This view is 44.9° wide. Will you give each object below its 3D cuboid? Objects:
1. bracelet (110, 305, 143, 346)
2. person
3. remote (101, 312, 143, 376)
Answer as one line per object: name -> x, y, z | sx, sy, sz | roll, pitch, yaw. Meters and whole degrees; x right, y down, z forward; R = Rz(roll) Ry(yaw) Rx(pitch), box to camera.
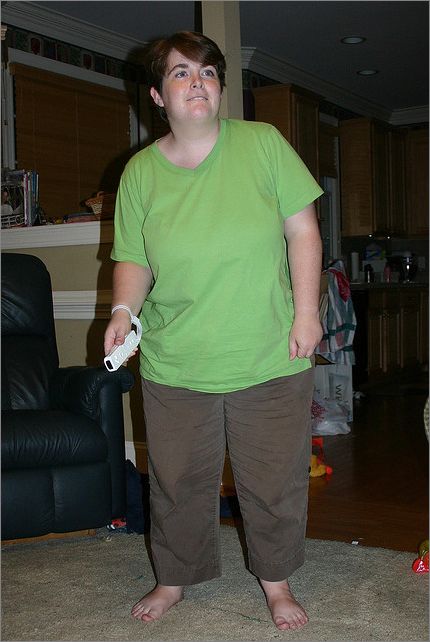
bracelet -> -0.173, 0.018, 1.065 | 0.062, 0.082, 0.023 | 3, 30, 8
person -> -0.009, 0.025, 1.060 | 0.425, 1.090, 0.412 | 0, -8, -13
remote -> -0.172, 0.039, 0.963 | 0.070, 0.029, 0.123 | 12, 40, 6
